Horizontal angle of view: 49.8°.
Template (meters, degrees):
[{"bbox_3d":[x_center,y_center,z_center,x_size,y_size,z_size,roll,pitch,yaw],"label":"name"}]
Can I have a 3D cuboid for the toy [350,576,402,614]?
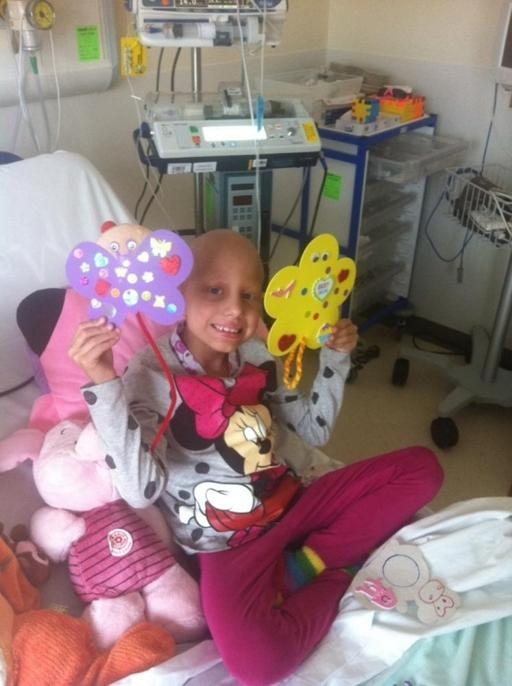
[{"bbox_3d":[0.199,0.425,0.927,0.068,0.032,0.064,-1,32,-7],"label":"toy"}]

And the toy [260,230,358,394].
[{"bbox_3d":[0.091,-0.003,1.027,0.110,0.407,0.227,14,34,15],"label":"toy"}]

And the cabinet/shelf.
[{"bbox_3d":[0.413,-0.642,2.648,0.552,0.975,0.583,-29,50,-28],"label":"cabinet/shelf"}]
